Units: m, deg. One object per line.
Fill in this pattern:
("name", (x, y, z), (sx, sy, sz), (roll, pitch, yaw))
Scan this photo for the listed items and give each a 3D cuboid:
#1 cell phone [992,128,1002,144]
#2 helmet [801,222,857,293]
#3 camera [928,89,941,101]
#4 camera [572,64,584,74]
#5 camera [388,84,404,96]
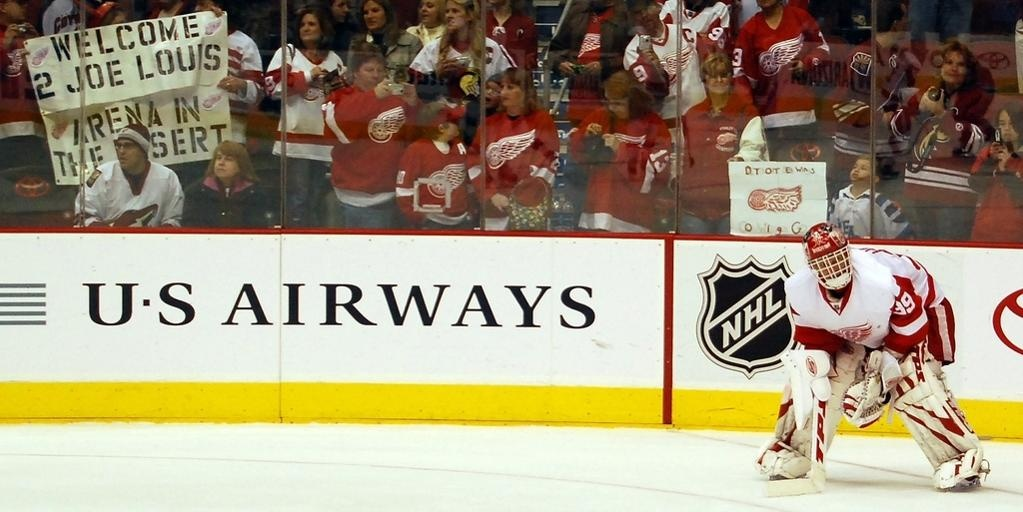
("cell phone", (5.141, -1.261, 16.831), (0.095, 0.137, 0.027), (-1, 10, 6))
("helmet", (3.112, -0.017, 15.545), (0.464, 0.536, 0.600), (-20, 14, 11))
("camera", (4.481, -1.699, 16.853), (0.125, 0.122, 0.087), (0, -22, 12))
("camera", (0.714, -1.983, 17.016), (0.116, 0.032, 0.103), (7, 17, 11))
("camera", (-1.240, -1.764, 17.058), (0.142, 0.087, 0.129), (2, 4, 2))
